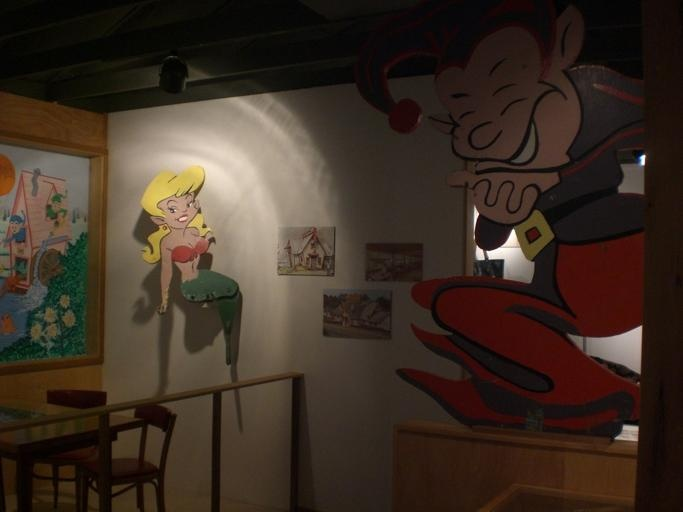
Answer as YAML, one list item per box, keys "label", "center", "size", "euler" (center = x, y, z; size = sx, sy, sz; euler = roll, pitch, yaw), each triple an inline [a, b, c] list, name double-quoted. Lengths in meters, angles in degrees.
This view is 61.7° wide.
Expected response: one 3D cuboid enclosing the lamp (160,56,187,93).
- label: "lamp"
  center: [-1.139, -1.230, 3.951]
  size: [0.177, 0.264, 0.248]
  euler: [4, 14, -4]
